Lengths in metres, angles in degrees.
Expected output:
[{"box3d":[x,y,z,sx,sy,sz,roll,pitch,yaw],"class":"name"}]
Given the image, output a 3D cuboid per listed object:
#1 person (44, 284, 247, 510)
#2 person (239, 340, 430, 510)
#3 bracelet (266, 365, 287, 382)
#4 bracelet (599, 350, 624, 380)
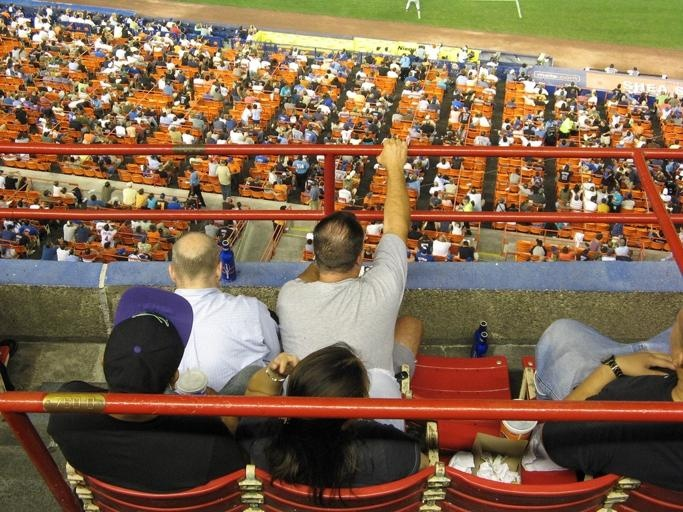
[{"box3d":[-1.161,0.794,4.698,0.839,1.187,0.624,-9,-16,-17],"class":"person"},{"box3d":[-0.108,0.946,4.575,1.016,0.838,0.501,5,9,18],"class":"person"},{"box3d":[-0.374,0.704,4.810,0.098,0.050,0.095,9,33,-53],"class":"bracelet"},{"box3d":[1.658,0.676,5.055,0.091,0.139,0.145,-34,-4,7],"class":"bracelet"}]
